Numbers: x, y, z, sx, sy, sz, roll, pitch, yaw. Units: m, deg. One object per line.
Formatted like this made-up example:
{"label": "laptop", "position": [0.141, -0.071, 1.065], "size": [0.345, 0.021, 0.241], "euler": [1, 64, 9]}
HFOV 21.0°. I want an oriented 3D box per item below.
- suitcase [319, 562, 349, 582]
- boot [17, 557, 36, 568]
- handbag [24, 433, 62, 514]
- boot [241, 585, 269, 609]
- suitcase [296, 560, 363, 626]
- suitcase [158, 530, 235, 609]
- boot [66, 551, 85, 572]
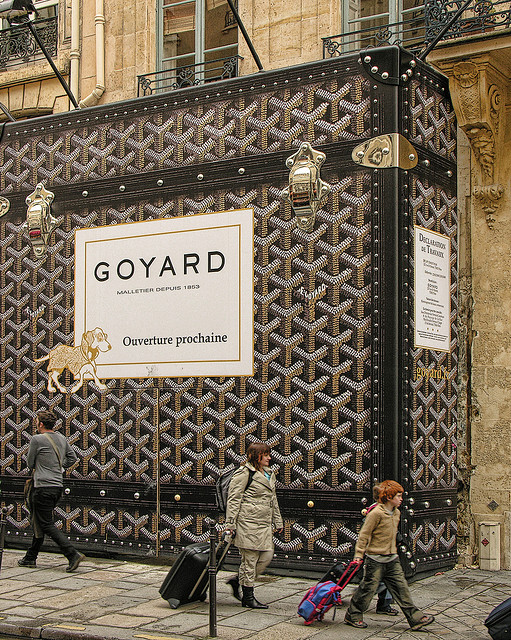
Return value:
{"label": "suitcase", "position": [0.714, 2.181, 11.992], "size": [0.238, 0.207, 0.143], "euler": [7, -1, 9]}
{"label": "boot", "position": [-2.406, 2.520, 14.341], "size": [0.225, 0.107, 0.076], "euler": [5, -4, 11]}
{"label": "handbag", "position": [-2.283, 1.581, 14.261], "size": [0.382, 0.780, 0.393], "euler": [2, 0, -34]}
{"label": "boot", "position": [0.013, 2.468, 12.368], "size": [0.244, 0.216, 0.217], "euler": [-1, -3, -1]}
{"label": "suitcase", "position": [0.649, 2.331, 11.881], "size": [0.318, 0.641, 0.249], "euler": [28, 14, -14]}
{"label": "suitcase", "position": [-0.580, 2.311, 12.431], "size": [0.476, 0.548, 0.458], "euler": [1, -4, -24]}
{"label": "boot", "position": [-1.839, 2.452, 13.994], "size": [0.179, 0.206, 0.271], "euler": [0, -3, -9]}
